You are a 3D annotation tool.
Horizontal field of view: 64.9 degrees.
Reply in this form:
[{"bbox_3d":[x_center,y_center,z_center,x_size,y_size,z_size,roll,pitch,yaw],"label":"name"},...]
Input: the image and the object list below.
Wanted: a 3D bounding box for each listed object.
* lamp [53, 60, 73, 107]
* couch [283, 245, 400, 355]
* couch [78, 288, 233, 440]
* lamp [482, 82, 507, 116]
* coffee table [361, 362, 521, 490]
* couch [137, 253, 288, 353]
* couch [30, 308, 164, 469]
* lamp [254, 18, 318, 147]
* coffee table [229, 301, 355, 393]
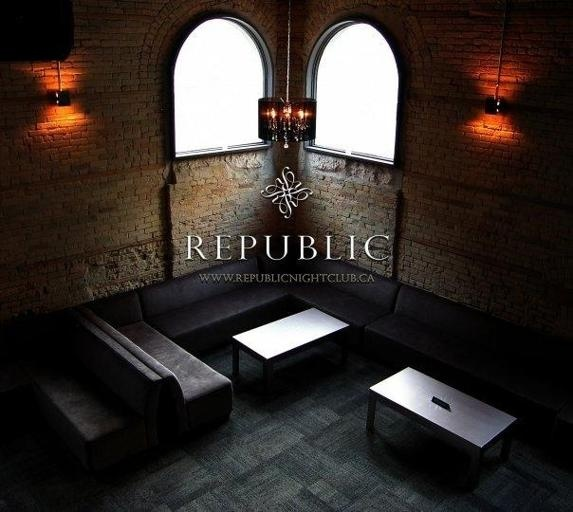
[{"bbox_3d":[-2.233,-1.704,4.421,0.171,0.422,0.166,-9,18,-26],"label":"lamp"},{"bbox_3d":[0.463,0.650,6.553,2.316,1.124,1.029,12,29,30],"label":"couch"},{"bbox_3d":[-1.428,1.028,4.593,1.755,0.786,0.818,20,23,38],"label":"couch"},{"bbox_3d":[2.060,-1.556,4.403,0.174,0.306,0.171,13,21,39],"label":"lamp"},{"bbox_3d":[1.393,1.265,3.865,0.676,0.450,1.049,-18,28,-36],"label":"coffee table"},{"bbox_3d":[-0.987,0.592,5.649,2.075,0.911,0.908,-19,27,-40],"label":"couch"},{"bbox_3d":[-1.923,1.148,4.155,1.496,0.722,0.681,25,23,32],"label":"couch"},{"bbox_3d":[0.002,-2.066,5.321,0.657,1.606,1.599,-1,17,1],"label":"lamp"},{"bbox_3d":[0.019,1.049,5.064,1.301,0.480,0.748,-12,20,-31],"label":"coffee table"}]
